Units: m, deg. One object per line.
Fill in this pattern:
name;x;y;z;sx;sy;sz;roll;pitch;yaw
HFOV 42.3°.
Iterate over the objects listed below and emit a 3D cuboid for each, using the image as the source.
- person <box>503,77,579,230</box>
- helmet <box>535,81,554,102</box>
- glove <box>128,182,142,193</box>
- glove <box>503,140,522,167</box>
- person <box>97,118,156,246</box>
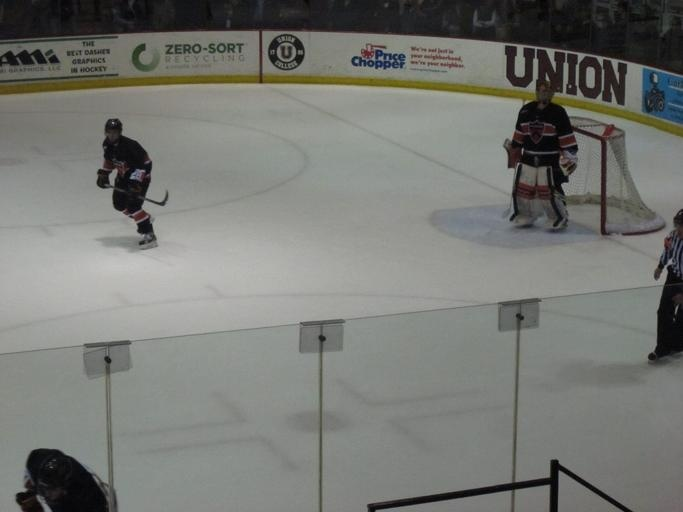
person;2.326;-1.176;10.373;0.819;1.698;0.421;3;23;13
helmet;2.338;-1.906;10.199;0.173;0.217;0.277;1;22;9
glove;-2.337;-0.775;9.948;0.121;0.116;0.118;1;2;-1
glove;2.026;-1.216;10.532;0.181;0.342;0.223;7;31;16
person;-2.467;-0.870;10.028;0.624;1.412;1.094;-8;23;-12
